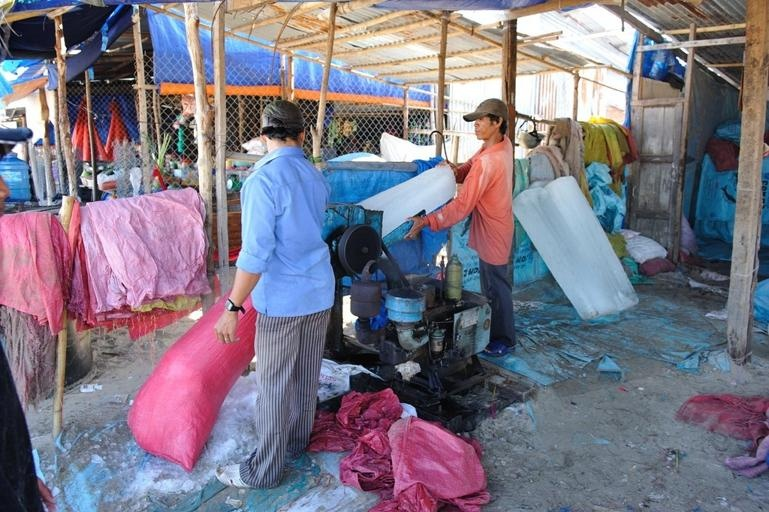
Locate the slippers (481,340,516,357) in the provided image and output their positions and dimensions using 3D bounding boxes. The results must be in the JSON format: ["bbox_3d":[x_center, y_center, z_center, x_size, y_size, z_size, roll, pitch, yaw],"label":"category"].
[{"bbox_3d":[1.236,1.015,6.302,0.328,0.149,0.166,0,1,-11],"label":"slippers"}]

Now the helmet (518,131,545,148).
[{"bbox_3d":[2.234,-1.864,8.764,0.294,0.318,0.273,5,15,18],"label":"helmet"}]

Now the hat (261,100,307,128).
[{"bbox_3d":[-0.793,-1.124,4.442,0.235,0.166,0.242,-1,10,-18],"label":"hat"}]

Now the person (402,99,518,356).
[{"bbox_3d":[1.047,-0.306,6.199,0.735,2.786,1.288,8,14,37],"label":"person"}]

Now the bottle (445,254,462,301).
[{"bbox_3d":[0.682,0.208,5.694,0.172,0.435,0.226,1,11,6],"label":"bottle"}]

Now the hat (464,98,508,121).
[{"bbox_3d":[1.071,-1.586,6.016,0.362,0.204,0.246,6,23,3],"label":"hat"}]

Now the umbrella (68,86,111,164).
[{"bbox_3d":[-6.080,-2.634,11.699,0.711,1.461,0.916,-5,4,-17],"label":"umbrella"}]

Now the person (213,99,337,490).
[{"bbox_3d":[-0.865,0.323,4.530,0.919,3.091,0.476,-4,11,-18],"label":"person"}]

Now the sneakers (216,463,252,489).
[{"bbox_3d":[-1.181,1.801,4.660,0.358,0.160,0.138,17,52,-5],"label":"sneakers"}]
